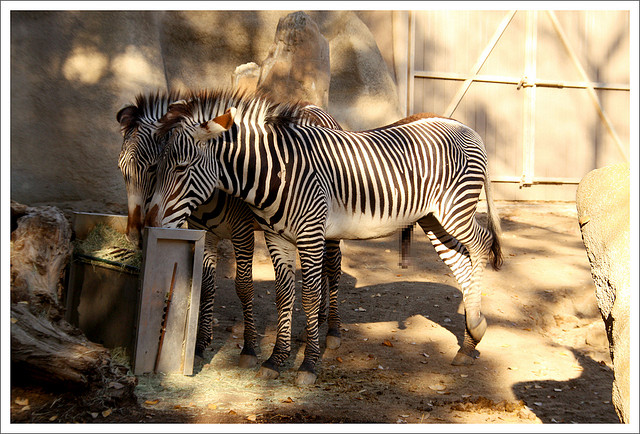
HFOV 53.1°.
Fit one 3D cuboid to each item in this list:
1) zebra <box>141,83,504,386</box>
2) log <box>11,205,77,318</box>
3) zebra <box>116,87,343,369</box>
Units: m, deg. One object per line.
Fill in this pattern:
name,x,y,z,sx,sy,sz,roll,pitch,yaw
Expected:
zebra,0.235,0.164,8.003,4.461,3.688,1.389,-5,9,-11
log,-3.090,0.468,7.072,0.420,1.031,1.569,1,1,8
zebra,-0.104,0.168,8.837,4.657,3.857,1.301,-3,8,-41
